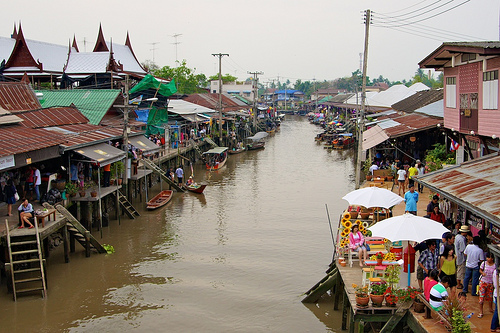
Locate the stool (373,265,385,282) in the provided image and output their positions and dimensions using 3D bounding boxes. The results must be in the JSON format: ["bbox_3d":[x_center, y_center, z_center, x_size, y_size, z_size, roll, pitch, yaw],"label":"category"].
[{"bbox_3d":[5.337,4.456,22.357,0.507,0.645,0.523,0,0,10],"label":"stool"}]

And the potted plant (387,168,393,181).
[{"bbox_3d":[10.104,0.640,38.909,0.439,0.679,1.393,0,8,14],"label":"potted plant"}]

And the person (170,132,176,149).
[{"bbox_3d":[-7.554,-2.517,53.950,0.650,1.339,2.421,-3,8,-8],"label":"person"}]

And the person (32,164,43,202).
[{"bbox_3d":[-11.644,1.009,29.817,0.435,1.778,0.893,-5,9,-21],"label":"person"}]

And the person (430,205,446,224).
[{"bbox_3d":[9.021,2.362,26.189,0.602,1.175,0.412,-16,-6,42],"label":"person"}]

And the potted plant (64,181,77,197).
[{"bbox_3d":[-10.329,1.359,31.522,0.731,0.801,0.704,-2,4,-14],"label":"potted plant"}]

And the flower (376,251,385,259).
[{"bbox_3d":[5.446,3.752,22.732,0.238,0.179,0.242,0,-2,-6],"label":"flower"}]

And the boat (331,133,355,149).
[{"bbox_3d":[11.931,-3.108,68.847,1.759,0.994,2.717,4,11,24],"label":"boat"}]

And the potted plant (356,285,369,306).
[{"bbox_3d":[4.438,5.207,21.534,0.568,0.798,0.581,0,-1,-2],"label":"potted plant"}]

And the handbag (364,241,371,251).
[{"bbox_3d":[5.234,3.581,24.209,0.349,0.538,0.289,-2,-2,-4],"label":"handbag"}]

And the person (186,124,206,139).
[{"bbox_3d":[-6.042,-3.886,61.216,0.878,1.201,2.973,-9,6,3],"label":"person"}]

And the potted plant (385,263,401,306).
[{"bbox_3d":[5.648,4.690,21.593,0.513,1.509,1.013,0,8,14],"label":"potted plant"}]

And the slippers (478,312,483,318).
[{"bbox_3d":[8.717,5.669,20.532,0.175,0.129,0.460,-1,1,20],"label":"slippers"}]

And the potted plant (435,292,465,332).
[{"bbox_3d":[7.334,5.464,20.021,0.930,1.222,0.943,-8,20,-33],"label":"potted plant"}]

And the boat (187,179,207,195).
[{"bbox_3d":[-4.340,1.722,43.307,0.865,0.810,2.091,-9,11,-39],"label":"boat"}]

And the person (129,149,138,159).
[{"bbox_3d":[-8.465,-0.810,39.355,0.574,0.711,1.488,-4,8,-11],"label":"person"}]

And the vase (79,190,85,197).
[{"bbox_3d":[-9.839,1.620,31.902,0.341,0.255,0.349,0,-1,0],"label":"vase"}]

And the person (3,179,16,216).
[{"bbox_3d":[-12.452,1.585,28.279,0.554,1.831,1.223,-6,9,-25],"label":"person"}]

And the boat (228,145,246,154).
[{"bbox_3d":[-1.419,-1.901,64.501,0.666,0.465,2.600,12,18,23],"label":"boat"}]

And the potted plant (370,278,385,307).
[{"bbox_3d":[5.084,5.049,21.579,0.620,0.903,0.775,2,9,28],"label":"potted plant"}]

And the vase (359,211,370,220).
[{"bbox_3d":[6.147,2.611,28.998,0.352,0.481,0.384,4,13,14],"label":"vase"}]

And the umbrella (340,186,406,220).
[{"bbox_3d":[5.908,1.974,26.649,1.653,0.684,1.650,-7,8,-23],"label":"umbrella"}]

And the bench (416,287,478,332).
[{"bbox_3d":[7.330,5.473,20.187,1.050,1.138,1.854,-9,17,-36],"label":"bench"}]

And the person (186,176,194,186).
[{"bbox_3d":[-5.023,1.286,45.656,0.518,1.044,0.348,4,-22,-7],"label":"person"}]

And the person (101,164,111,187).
[{"bbox_3d":[-9.080,0.568,34.463,0.473,1.443,0.630,-4,8,-16],"label":"person"}]

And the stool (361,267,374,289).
[{"bbox_3d":[4.866,4.605,22.606,0.614,0.936,0.677,0,2,1],"label":"stool"}]

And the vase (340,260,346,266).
[{"bbox_3d":[4.163,4.332,24.117,0.202,0.227,0.333,3,10,33],"label":"vase"}]

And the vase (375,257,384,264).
[{"bbox_3d":[5.410,3.976,22.699,0.213,0.178,0.221,0,3,22],"label":"vase"}]

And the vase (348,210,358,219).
[{"bbox_3d":[5.537,2.593,29.100,0.618,0.502,0.632,3,11,12],"label":"vase"}]

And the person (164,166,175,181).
[{"bbox_3d":[-6.848,0.622,46.076,0.776,1.188,0.469,-12,47,-14],"label":"person"}]

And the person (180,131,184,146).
[{"bbox_3d":[-6.915,-2.833,55.678,0.335,1.348,1.568,-3,8,-7],"label":"person"}]

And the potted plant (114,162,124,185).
[{"bbox_3d":[-8.705,0.442,36.028,0.724,1.493,2.213,-3,8,-10],"label":"potted plant"}]

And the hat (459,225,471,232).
[{"bbox_3d":[8.972,2.632,22.633,0.352,0.139,0.297,1,0,-40],"label":"hat"}]
